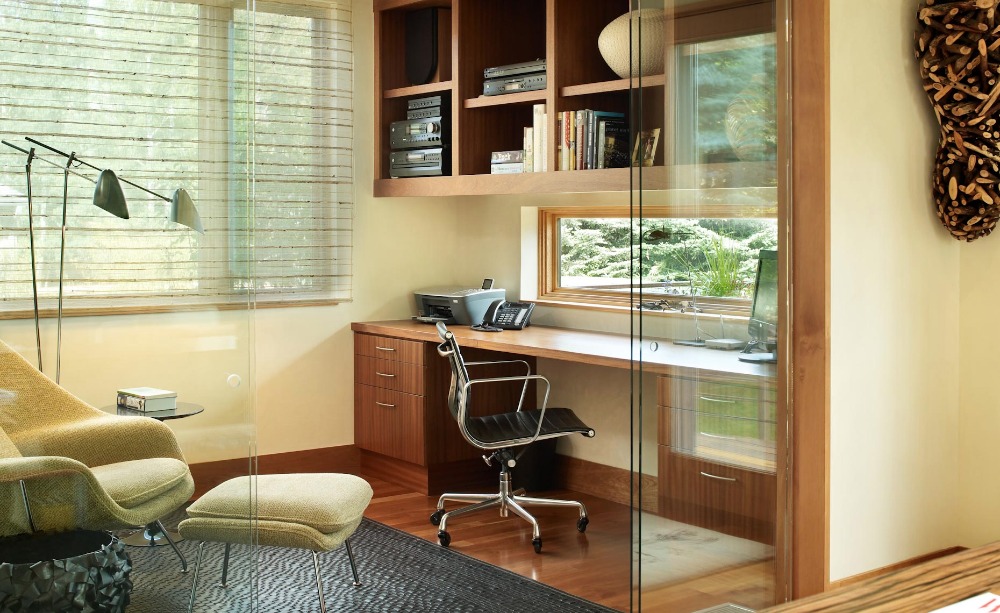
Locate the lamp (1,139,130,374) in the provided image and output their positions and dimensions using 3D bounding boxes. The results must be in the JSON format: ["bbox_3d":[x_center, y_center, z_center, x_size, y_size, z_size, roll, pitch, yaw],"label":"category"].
[{"bbox_3d":[-1.242,-0.157,2.146,0.304,0.661,0.109,-5,9,-23],"label":"lamp"}]

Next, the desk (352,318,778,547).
[{"bbox_3d":[0.390,0.435,3.956,1.145,0.937,2.416,-6,9,-29],"label":"desk"}]

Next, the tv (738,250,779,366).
[{"bbox_3d":[1.070,0.002,3.002,0.224,0.464,0.055,-7,10,-35],"label":"tv"}]

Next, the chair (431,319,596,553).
[{"bbox_3d":[0.008,0.685,4.742,1.311,1.442,1.293,-1,3,-8],"label":"chair"}]
